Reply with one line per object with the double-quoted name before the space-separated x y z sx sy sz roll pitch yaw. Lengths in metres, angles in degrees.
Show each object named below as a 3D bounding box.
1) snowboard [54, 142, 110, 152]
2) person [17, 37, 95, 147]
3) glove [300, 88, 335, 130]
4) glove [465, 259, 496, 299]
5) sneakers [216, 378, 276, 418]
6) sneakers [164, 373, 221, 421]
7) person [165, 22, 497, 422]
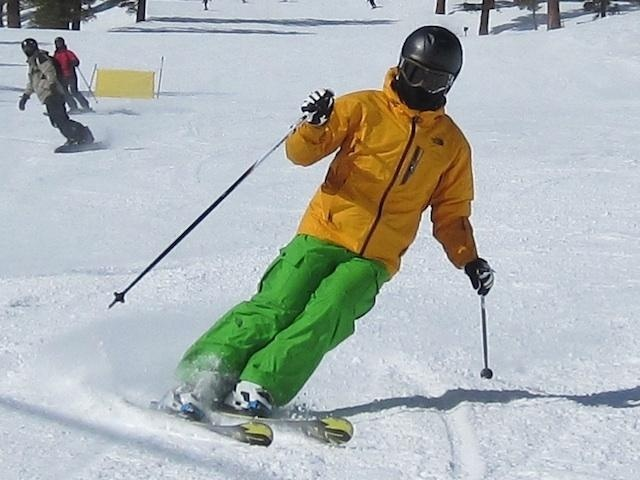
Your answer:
"snowboard" -3.361 -1.306 8.824 0.509 0.090 0.265 -4 8 -31
"person" -3.943 -2.186 9.197 0.920 1.414 2.086 -7 25 -24
"glove" -0.022 -0.667 3.177 0.194 0.148 0.093 -50 16 -13
"glove" 0.973 0.219 3.641 0.216 0.158 0.093 47 26 9
"sneakers" -0.349 0.785 3.182 0.244 0.172 0.169 26 -1 13
"sneakers" -0.624 0.785 3.125 0.299 0.194 0.100 -20 -9 -8
"person" 0.102 -0.143 3.255 1.712 1.855 0.650 -11 28 -30
